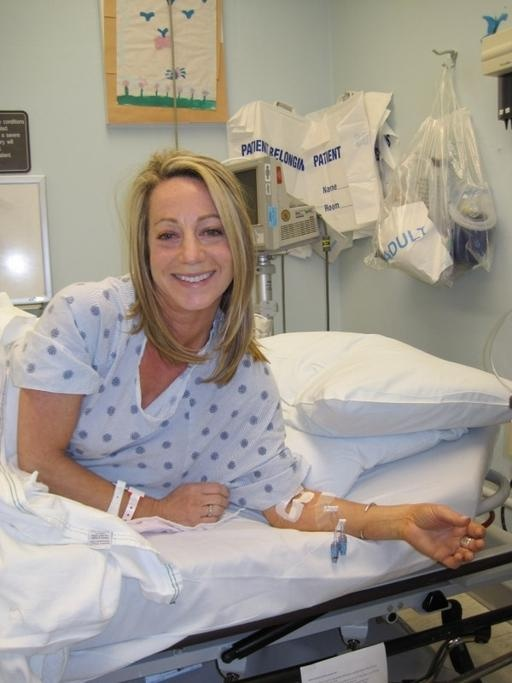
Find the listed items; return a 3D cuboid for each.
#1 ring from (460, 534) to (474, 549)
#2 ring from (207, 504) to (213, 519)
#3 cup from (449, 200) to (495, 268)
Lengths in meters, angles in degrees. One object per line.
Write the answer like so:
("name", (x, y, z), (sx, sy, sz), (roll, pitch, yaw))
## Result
("ring", (0.370, 0.359, 1.090), (0.019, 0.018, 0.018), (-1, -3, 0))
("ring", (-0.092, 0.341, 1.229), (0.004, 0.017, 0.017), (11, -33, -3))
("cup", (0.740, -0.379, 2.129), (0.153, 0.188, 0.117), (-29, 34, -12))
